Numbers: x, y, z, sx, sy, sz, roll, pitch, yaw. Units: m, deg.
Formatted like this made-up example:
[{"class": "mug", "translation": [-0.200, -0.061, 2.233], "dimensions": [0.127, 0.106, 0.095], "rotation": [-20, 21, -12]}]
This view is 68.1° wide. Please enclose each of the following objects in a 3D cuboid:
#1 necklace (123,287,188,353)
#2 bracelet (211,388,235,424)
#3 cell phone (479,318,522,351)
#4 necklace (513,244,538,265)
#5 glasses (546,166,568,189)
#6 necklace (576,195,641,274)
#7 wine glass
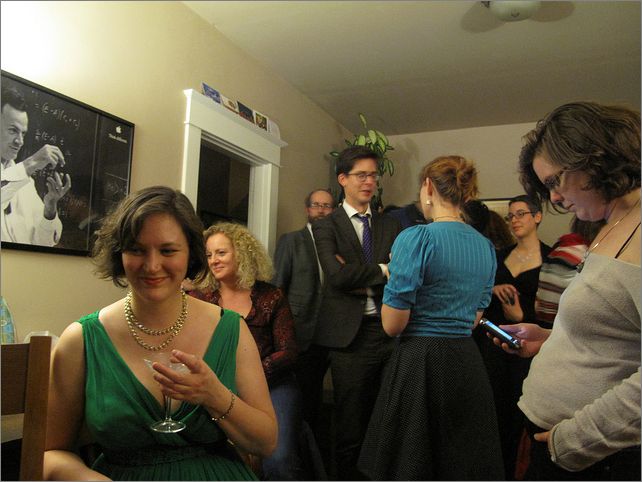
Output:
[{"class": "necklace", "translation": [-0.609, 0.293, 1.725], "dimensions": [0.179, 0.238, 0.058], "rotation": [2, 3, -13]}, {"class": "bracelet", "translation": [-0.328, 0.568, 1.625], "dimensions": [0.022, 0.090, 0.093], "rotation": [40, 8, -38]}, {"class": "cell phone", "translation": [0.778, 0.403, 2.059], "dimensions": [0.150, 0.036, 0.081], "rotation": [34, 6, 18]}, {"class": "necklace", "translation": [1.464, 0.077, 3.409], "dimensions": [0.155, 0.150, 0.063], "rotation": [-2, -31, 43]}, {"class": "glasses", "translation": [0.822, -0.214, 1.656], "dimensions": [0.053, 0.016, 0.040], "rotation": [-35, -9, -12]}, {"class": "necklace", "translation": [0.989, -0.018, 1.627], "dimensions": [0.223, 0.229, 0.065], "rotation": [10, 22, 20]}, {"class": "wine glass", "translation": [-0.518, 0.517, 1.608], "dimensions": [0.179, 0.221, 0.182], "rotation": [1, -14, -22]}]
